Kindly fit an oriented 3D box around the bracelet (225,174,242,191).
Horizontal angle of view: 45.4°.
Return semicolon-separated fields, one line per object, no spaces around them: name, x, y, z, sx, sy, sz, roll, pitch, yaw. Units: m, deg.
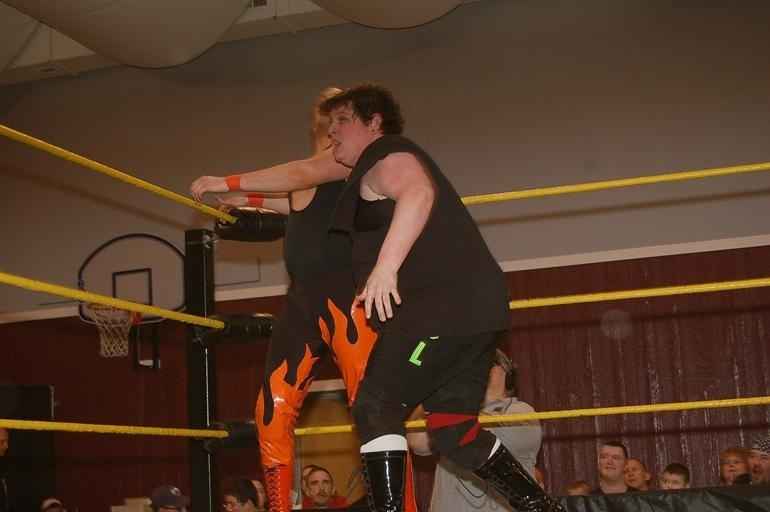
bracelet;-1.016;-0.500;6.288;0.103;0.084;0.123;1;-5;-41

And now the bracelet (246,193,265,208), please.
bracelet;-0.913;-0.389;6.548;0.117;0.092;0.025;5;-6;2
